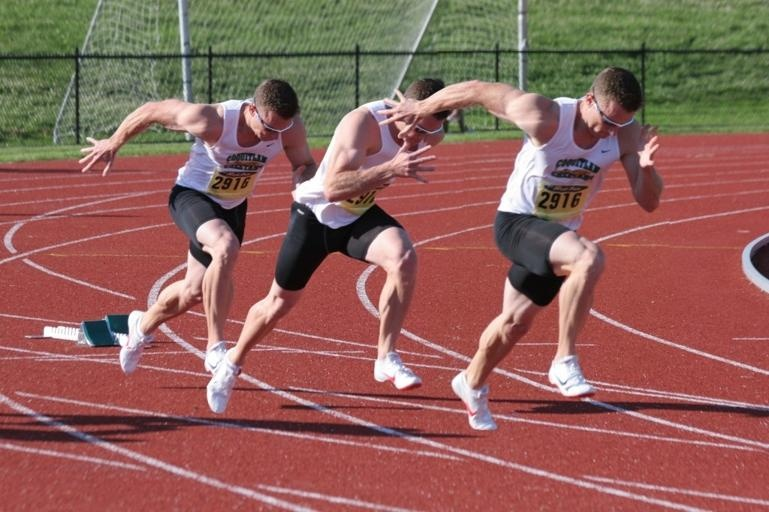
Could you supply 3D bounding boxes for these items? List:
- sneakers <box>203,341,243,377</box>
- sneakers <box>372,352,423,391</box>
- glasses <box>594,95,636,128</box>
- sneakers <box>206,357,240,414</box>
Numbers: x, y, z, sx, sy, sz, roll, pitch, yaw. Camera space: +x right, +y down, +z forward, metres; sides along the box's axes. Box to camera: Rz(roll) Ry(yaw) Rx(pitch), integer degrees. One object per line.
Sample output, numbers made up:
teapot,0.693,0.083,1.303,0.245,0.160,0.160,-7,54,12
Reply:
sneakers,-1.232,0.752,6.035,0.144,0.170,0.409,0,5,-1
sneakers,0.082,0.802,5.846,0.164,0.226,0.472,-18,16,-34
glasses,1.571,-0.959,5.450,0.177,0.209,0.404,17,22,42
sneakers,-1.149,0.892,5.714,0.185,0.422,0.163,24,11,14
